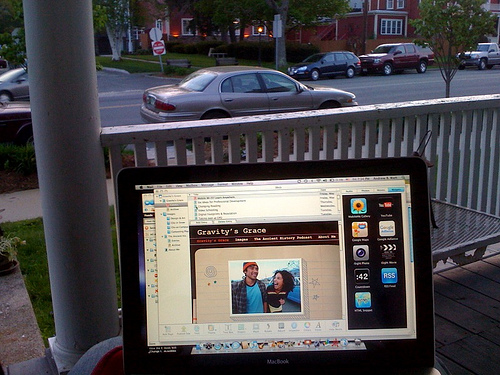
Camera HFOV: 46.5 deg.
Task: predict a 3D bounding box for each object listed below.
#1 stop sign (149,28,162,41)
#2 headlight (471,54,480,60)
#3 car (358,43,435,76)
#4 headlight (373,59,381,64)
[{"bbox_3d":[-4.022,-6.475,24.719,0.443,0.513,0.720,-3,18,-3],"label":"stop sign"},{"bbox_3d":[13.390,-7.694,34.317,0.487,0.368,0.256,2,14,2],"label":"headlight"},{"bbox_3d":[7.471,-6.451,29.792,4.080,1.538,1.286,-12,20,-25],"label":"car"},{"bbox_3d":[6.303,-6.216,28.675,0.381,0.210,0.105,-1,17,5],"label":"headlight"}]
